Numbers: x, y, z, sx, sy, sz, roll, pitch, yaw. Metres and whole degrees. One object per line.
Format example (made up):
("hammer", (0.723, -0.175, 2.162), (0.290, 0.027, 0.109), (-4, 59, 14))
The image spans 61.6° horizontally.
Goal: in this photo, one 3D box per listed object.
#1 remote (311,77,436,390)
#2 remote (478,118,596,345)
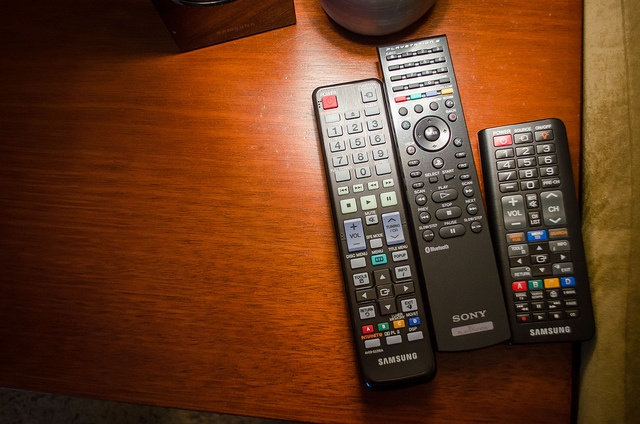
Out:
("remote", (0.063, 0.018, 0.642), (0.086, 0.362, 0.121), (-13, 7, 15))
("remote", (0.257, 0.020, 0.634), (0.109, 0.257, 0.092), (-12, 7, 17))
